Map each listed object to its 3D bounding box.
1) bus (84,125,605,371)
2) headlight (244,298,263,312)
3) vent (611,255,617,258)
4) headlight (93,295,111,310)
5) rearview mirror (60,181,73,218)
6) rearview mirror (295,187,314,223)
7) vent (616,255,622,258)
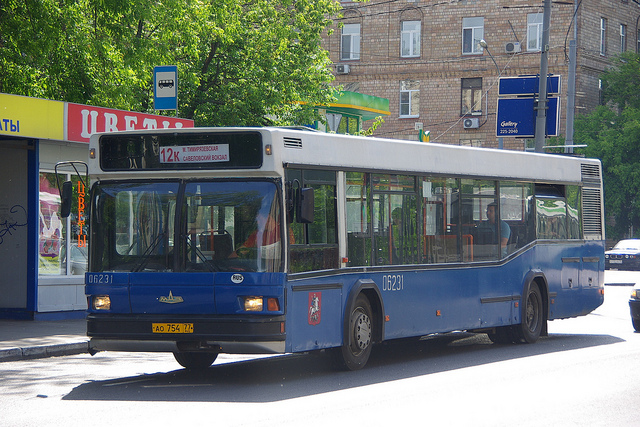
[{"bbox_3d":[1.547,0.669,15.399,11.890,3.748,2.854,-1,0,-42],"label":"bus"},{"bbox_3d":[-0.977,1.323,11.755,0.205,0.134,0.210,-3,-5,36],"label":"headlight"},{"bbox_3d":[14.837,2.123,40.263,0.228,0.161,0.055,-4,-2,14],"label":"vent"},{"bbox_3d":[-3.342,1.348,12.229,0.317,0.222,0.053,-2,0,28],"label":"headlight"},{"bbox_3d":[-4.101,-0.230,12.877,0.180,0.585,0.332,-2,0,-21],"label":"rearview mirror"},{"bbox_3d":[-0.230,-0.126,12.029,0.280,0.475,0.144,-1,0,-8],"label":"rearview mirror"},{"bbox_3d":[15.073,2.132,40.171,0.267,0.098,0.087,-2,0,20],"label":"vent"}]
